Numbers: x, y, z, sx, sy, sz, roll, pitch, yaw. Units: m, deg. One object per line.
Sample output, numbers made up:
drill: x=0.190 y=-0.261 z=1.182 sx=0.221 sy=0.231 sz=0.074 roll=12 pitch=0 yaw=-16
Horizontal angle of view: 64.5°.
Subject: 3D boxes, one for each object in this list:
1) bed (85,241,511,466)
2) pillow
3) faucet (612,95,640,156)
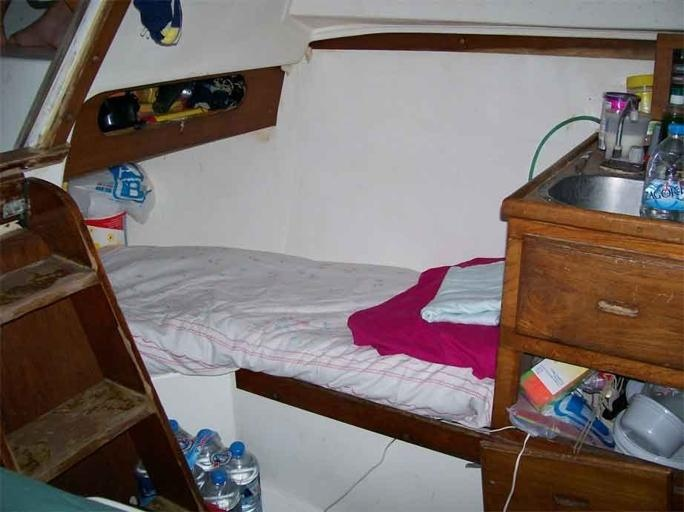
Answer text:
bed: x=-0.251 y=0.300 z=2.061 sx=1.318 sy=0.190 sz=0.734 roll=10 pitch=27 yaw=18
pillow: x=0.364 y=0.227 z=2.004 sx=0.563 sy=0.174 sz=0.514 roll=14 pitch=20 yaw=33
faucet: x=0.963 y=-0.429 z=1.844 sx=0.041 sy=0.212 sz=0.075 roll=-24 pitch=31 yaw=-30
